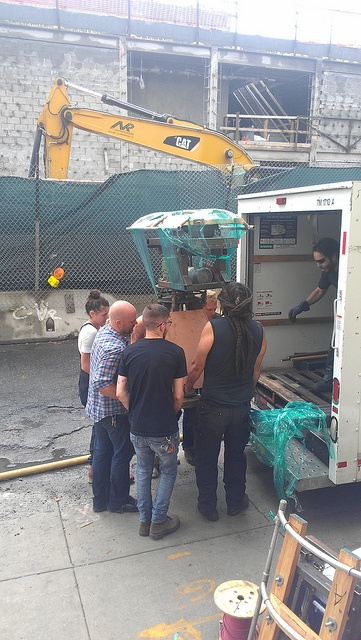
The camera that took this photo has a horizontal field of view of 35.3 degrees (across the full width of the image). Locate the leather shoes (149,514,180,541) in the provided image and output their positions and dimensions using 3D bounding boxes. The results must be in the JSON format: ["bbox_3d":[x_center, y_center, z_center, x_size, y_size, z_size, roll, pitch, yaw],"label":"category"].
[{"bbox_3d":[-0.101,1.475,4.103,0.094,0.151,0.243,4,9,38],"label":"leather shoes"}]

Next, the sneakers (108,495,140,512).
[{"bbox_3d":[-0.427,1.445,4.489,0.265,0.133,0.100,1,-1,-20],"label":"sneakers"}]

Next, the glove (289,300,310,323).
[{"bbox_3d":[1.179,-0.104,5.736,0.195,0.082,0.205,-35,4,12],"label":"glove"}]

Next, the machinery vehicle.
[{"bbox_3d":[-0.656,-2.757,8.311,3.008,1.348,0.756,-4,13,-15],"label":"machinery vehicle"}]

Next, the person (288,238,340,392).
[{"bbox_3d":[1.258,-0.096,5.472,0.448,1.379,1.167,2,13,12],"label":"person"}]

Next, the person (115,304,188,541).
[{"bbox_3d":[-0.189,0.730,3.943,0.478,1.672,0.247,-2,13,-8],"label":"person"}]

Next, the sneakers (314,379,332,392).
[{"bbox_3d":[1.316,0.586,5.254,0.141,0.140,0.151,2,13,11],"label":"sneakers"}]

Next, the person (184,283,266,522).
[{"bbox_3d":[0.300,0.619,4.218,0.460,1.759,0.308,-2,13,-4],"label":"person"}]
